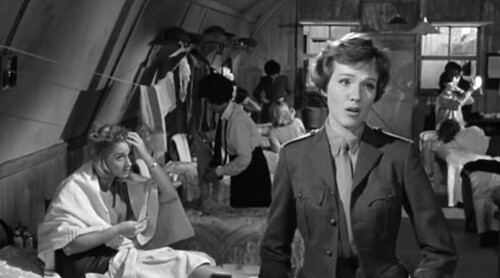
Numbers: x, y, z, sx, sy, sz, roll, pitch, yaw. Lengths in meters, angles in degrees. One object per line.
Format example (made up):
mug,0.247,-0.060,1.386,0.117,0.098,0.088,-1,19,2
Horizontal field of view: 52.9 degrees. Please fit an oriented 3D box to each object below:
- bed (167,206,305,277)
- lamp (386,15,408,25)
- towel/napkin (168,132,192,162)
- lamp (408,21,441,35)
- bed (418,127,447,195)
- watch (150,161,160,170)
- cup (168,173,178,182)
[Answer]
bed,-0.114,1.128,5.999,1.078,0.372,0.848,1,-1,11
lamp,3.311,-2.654,11.388,0.346,0.176,0.368,-1,12,2
towel/napkin,-0.993,0.141,7.291,0.117,0.405,0.302,-7,22,8
lamp,3.443,-2.155,9.859,0.362,0.145,0.358,-4,7,-32
bed,2.939,0.346,8.000,0.280,1.194,1.134,-1,6,5
watch,-1.023,0.273,5.403,0.040,0.059,0.020,33,-22,20
cup,-0.961,0.480,6.287,0.104,0.104,0.093,-4,5,-25
